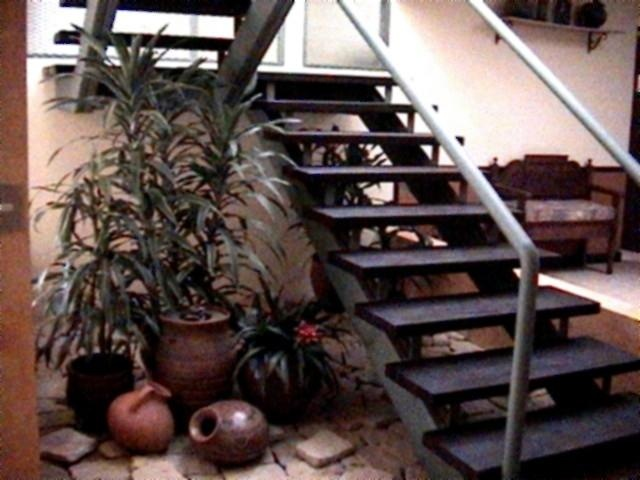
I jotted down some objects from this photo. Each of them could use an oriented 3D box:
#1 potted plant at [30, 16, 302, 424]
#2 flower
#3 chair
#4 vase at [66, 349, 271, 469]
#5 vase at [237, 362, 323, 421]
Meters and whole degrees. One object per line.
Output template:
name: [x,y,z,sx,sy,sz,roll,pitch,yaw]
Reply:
potted plant: [-0.819,-0.127,2.624,1.194,1.762,1.004,-7,-5,1]
flower: [-0.155,0.515,2.685,0.532,0.397,0.556,3,-2,27]
chair: [1.992,-0.224,4.475,0.977,0.970,0.600,-1,13,-7]
vase: [-0.584,0.734,2.311,0.614,0.276,0.360,6,-5,1]
vase: [-0.204,0.747,2.566,0.303,0.232,0.309,3,-4,-7]
